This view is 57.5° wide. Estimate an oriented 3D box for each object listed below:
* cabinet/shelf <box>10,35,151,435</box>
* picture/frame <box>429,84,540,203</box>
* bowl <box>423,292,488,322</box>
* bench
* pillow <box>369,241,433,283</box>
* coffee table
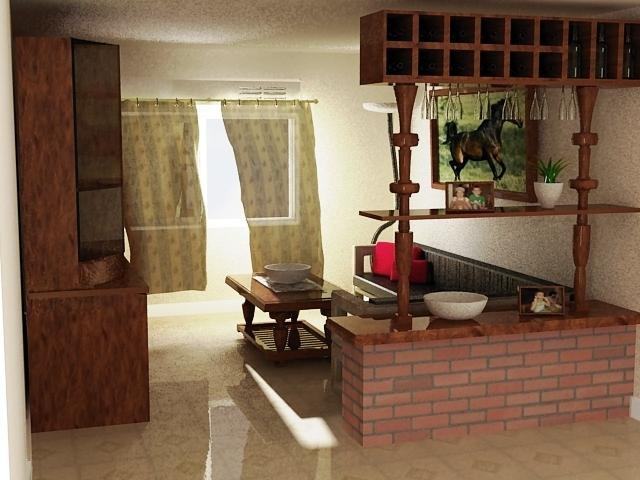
[{"bbox_3d":[-1.633,-0.038,4.003,0.799,2.592,0.521,-3,9,-16],"label":"cabinet/shelf"},{"bbox_3d":[1.450,-0.842,4.989,0.071,0.853,1.418,-2,4,-20],"label":"picture/frame"},{"bbox_3d":[0.918,0.439,3.911,0.363,0.149,0.337,0,8,0],"label":"bowl"},{"bbox_3d":[0.965,0.472,5.171,1.756,0.534,2.330,-1,8,-3],"label":"bench"},{"bbox_3d":[0.799,0.196,5.870,0.526,0.134,0.441,0,46,4],"label":"pillow"},{"bbox_3d":[-0.362,0.758,5.426,0.832,0.497,1.170,0,2,-20],"label":"coffee table"}]
